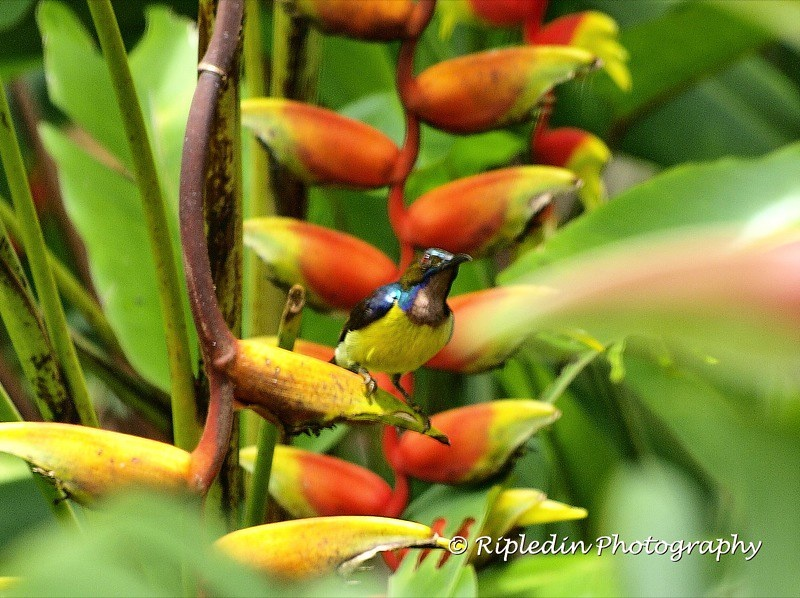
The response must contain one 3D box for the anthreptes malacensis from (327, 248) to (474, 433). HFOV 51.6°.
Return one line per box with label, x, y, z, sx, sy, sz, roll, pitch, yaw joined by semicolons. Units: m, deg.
anthreptes malacensis;-0.009;0.018;0.551;0.064;0.097;0.132;16;-11;-35
